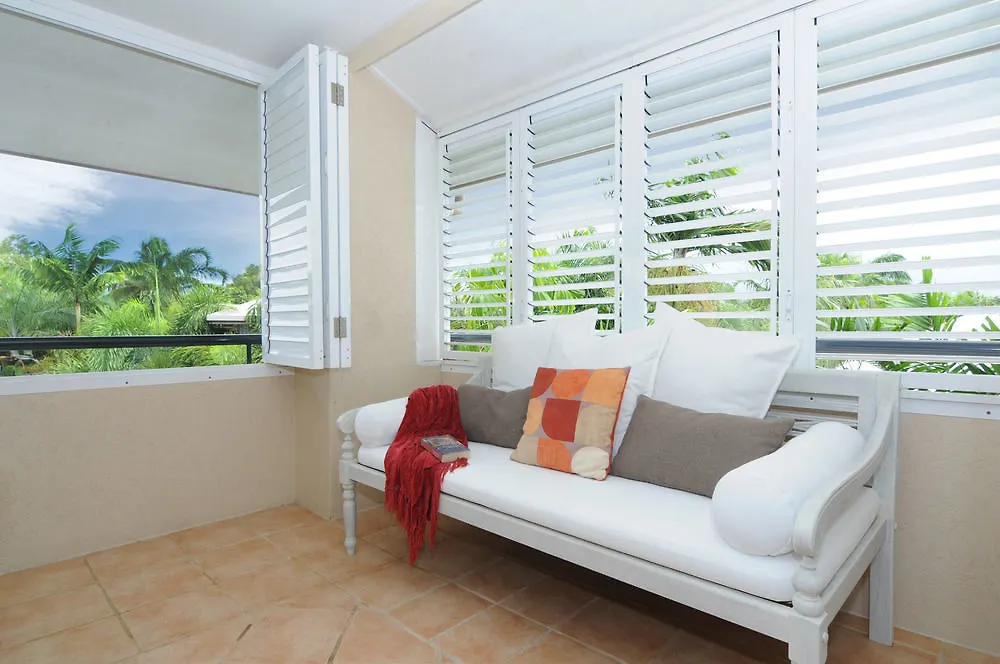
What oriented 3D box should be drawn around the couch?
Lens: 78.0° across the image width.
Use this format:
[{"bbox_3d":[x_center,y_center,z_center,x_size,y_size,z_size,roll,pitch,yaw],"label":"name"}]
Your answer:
[{"bbox_3d":[0.901,0.859,3.123,1.875,1.337,1.048,2,3,32],"label":"couch"}]
